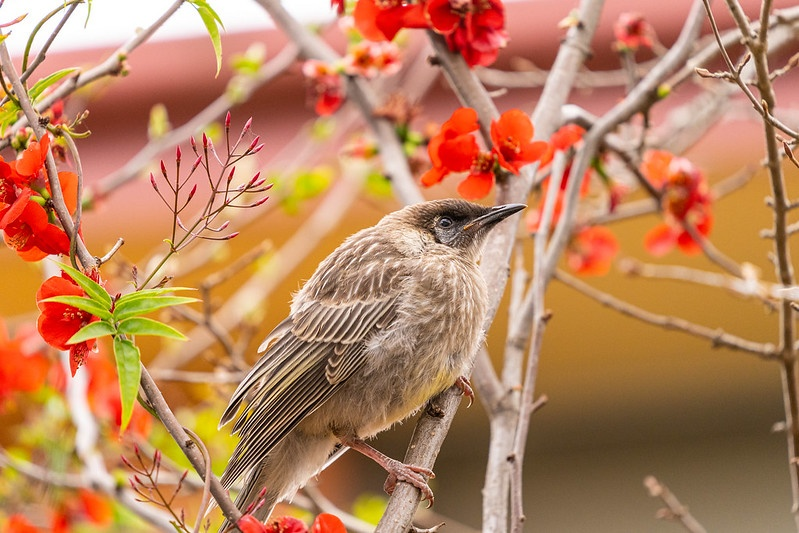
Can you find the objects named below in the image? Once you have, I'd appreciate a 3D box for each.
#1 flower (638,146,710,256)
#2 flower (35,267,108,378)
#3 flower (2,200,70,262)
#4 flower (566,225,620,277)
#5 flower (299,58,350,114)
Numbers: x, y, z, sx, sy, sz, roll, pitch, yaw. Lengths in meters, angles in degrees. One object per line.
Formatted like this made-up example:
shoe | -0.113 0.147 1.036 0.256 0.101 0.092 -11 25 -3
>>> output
flower | 1.591 -0.382 4.965 0.316 0.542 0.471 -19 -57 19
flower | -1.440 0.245 4.026 0.377 0.182 0.429 9 -76 22
flower | -1.613 -0.152 3.965 0.276 0.132 0.279 -20 -100 5
flower | 1.225 -0.085 5.649 0.373 0.137 0.404 1 -42 13
flower | -0.443 -1.102 5.315 0.253 0.257 0.265 16 -12 -23
